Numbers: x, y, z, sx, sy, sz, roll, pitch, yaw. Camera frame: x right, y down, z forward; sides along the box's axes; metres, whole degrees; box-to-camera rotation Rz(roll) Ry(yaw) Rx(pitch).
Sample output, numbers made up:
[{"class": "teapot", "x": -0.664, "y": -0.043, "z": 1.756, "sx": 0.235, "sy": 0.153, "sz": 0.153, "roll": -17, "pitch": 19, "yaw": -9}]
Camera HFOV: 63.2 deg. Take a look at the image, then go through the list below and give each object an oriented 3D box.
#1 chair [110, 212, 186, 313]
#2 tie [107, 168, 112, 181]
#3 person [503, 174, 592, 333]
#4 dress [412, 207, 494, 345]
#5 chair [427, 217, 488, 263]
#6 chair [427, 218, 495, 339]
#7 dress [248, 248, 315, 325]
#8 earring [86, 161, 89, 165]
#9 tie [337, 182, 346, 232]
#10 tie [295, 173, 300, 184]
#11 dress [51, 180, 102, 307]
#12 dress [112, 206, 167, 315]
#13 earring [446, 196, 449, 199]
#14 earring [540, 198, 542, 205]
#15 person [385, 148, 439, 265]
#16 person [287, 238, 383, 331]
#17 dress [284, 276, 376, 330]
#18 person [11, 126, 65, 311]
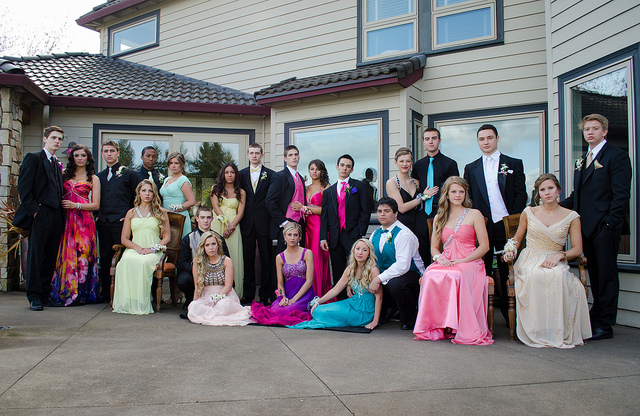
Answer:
[{"class": "chair", "x": -2.689, "y": 0.830, "z": 8.208, "sx": 0.973, "sy": 1.531, "sz": 1.096, "roll": 3, "pitch": -5, "yaw": 0}, {"class": "tie", "x": -3.404, "y": -0.528, "z": 8.408, "sx": 0.043, "sy": 0.218, "sz": 0.025, "roll": 9, "pitch": -34, "yaw": 3}, {"class": "person", "x": 2.907, "y": 0.572, "z": 6.624, "sx": 0.933, "sy": 1.962, "sz": 0.803, "roll": -1, "pitch": 7, "yaw": -13}, {"class": "dress", "x": 1.761, "y": 0.938, "z": 6.761, "sx": 1.083, "sy": 1.840, "sz": 1.139, "roll": -10, "pitch": -26, "yaw": 34}, {"class": "chair", "x": 1.888, "y": 0.495, "z": 7.330, "sx": 0.583, "sy": 1.014, "sz": 0.697, "roll": -1, "pitch": -12, "yaw": -1}, {"class": "chair", "x": 2.009, "y": 0.843, "z": 6.993, "sx": 0.836, "sy": 1.435, "sz": 0.825, "roll": -7, "pitch": 1, "yaw": 16}, {"class": "dress", "x": -0.473, "y": 1.222, "z": 7.559, "sx": 0.844, "sy": 1.004, "sz": 0.992, "roll": -3, "pitch": -15, "yaw": 26}, {"class": "earring", "x": -3.764, "y": -0.714, "z": 8.405, "sx": 0.040, "sy": 0.041, "sz": 0.025, "roll": -2, "pitch": 7, "yaw": -20}, {"class": "tie", "x": 0.336, "y": -0.013, "z": 7.894, "sx": 0.121, "sy": 0.720, "sz": 0.160, "roll": 1, "pitch": 7, "yaw": 3}, {"class": "tie", "x": -0.364, "y": -0.472, "z": 8.412, "sx": 0.037, "sy": 0.108, "sz": 0.090, "roll": -18, "pitch": 11, "yaw": -13}, {"class": "dress", "x": -3.885, "y": 0.788, "z": 8.250, "sx": 0.361, "sy": 1.529, "sz": 0.695, "roll": 7, "pitch": 9, "yaw": 39}, {"class": "dress", "x": -2.774, "y": 0.792, "z": 7.932, "sx": 0.618, "sy": 1.527, "sz": 0.712, "roll": 2, "pitch": 7, "yaw": 10}, {"class": "earring", "x": 1.731, "y": -0.131, "z": 6.998, "sx": 0.011, "sy": 0.035, "sz": 0.043, "roll": -1, "pitch": 7, "yaw": -11}, {"class": "earring", "x": 2.946, "y": -0.072, "z": 6.921, "sx": 0.012, "sy": 0.053, "sz": 0.052, "roll": 6, "pitch": -3, "yaw": -4}, {"class": "person", "x": 1.395, "y": 0.232, "z": 7.807, "sx": 0.605, "sy": 2.161, "sz": 0.547, "roll": -10, "pitch": 13, "yaw": -6}, {"class": "person", "x": 0.205, "y": 1.056, "z": 7.146, "sx": 1.443, "sy": 1.218, "sz": 0.864, "roll": 0, "pitch": 1, "yaw": -21}, {"class": "dress", "x": 0.192, "y": 1.293, "z": 7.237, "sx": 1.438, "sy": 0.793, "sz": 0.630, "roll": -3, "pitch": 3, "yaw": -25}, {"class": "person", "x": -4.160, "y": 0.162, "z": 7.830, "sx": 0.704, "sy": 2.740, "sz": 0.636, "roll": -6, "pitch": 10, "yaw": -40}]
